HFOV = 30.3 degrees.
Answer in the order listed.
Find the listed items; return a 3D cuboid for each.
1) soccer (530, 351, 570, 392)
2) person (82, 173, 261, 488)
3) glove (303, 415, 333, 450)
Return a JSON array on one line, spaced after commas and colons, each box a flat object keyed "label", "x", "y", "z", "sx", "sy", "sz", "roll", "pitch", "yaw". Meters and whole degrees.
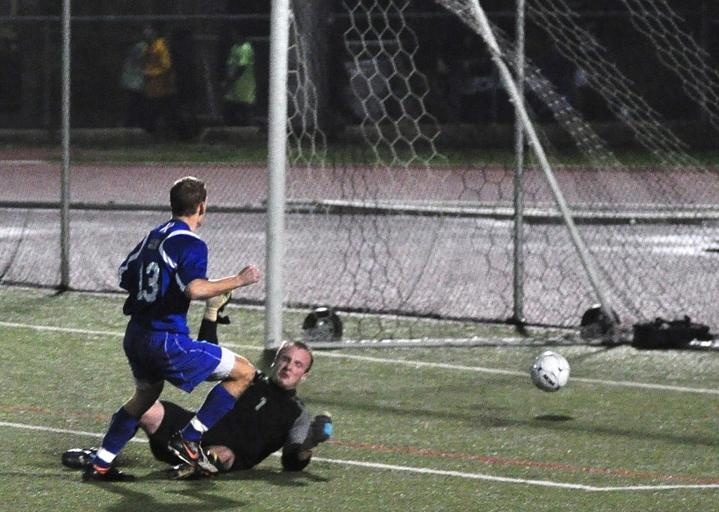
[{"label": "soccer", "x": 2.082, "y": 1.286, "z": 14.533, "sx": 0.409, "sy": 0.444, "sz": 0.252, "roll": 2, "pitch": 3, "yaw": -12}, {"label": "person", "x": -1.784, "y": 0.731, "z": 12.976, "sx": 1.489, "sy": 3.004, "sz": 0.514, "roll": 3, "pitch": 3, "yaw": 11}, {"label": "glove", "x": -0.399, "y": 1.734, "z": 13.053, "sx": 0.265, "sy": 0.338, "sz": 0.131, "roll": 26, "pitch": -15, "yaw": 34}]
